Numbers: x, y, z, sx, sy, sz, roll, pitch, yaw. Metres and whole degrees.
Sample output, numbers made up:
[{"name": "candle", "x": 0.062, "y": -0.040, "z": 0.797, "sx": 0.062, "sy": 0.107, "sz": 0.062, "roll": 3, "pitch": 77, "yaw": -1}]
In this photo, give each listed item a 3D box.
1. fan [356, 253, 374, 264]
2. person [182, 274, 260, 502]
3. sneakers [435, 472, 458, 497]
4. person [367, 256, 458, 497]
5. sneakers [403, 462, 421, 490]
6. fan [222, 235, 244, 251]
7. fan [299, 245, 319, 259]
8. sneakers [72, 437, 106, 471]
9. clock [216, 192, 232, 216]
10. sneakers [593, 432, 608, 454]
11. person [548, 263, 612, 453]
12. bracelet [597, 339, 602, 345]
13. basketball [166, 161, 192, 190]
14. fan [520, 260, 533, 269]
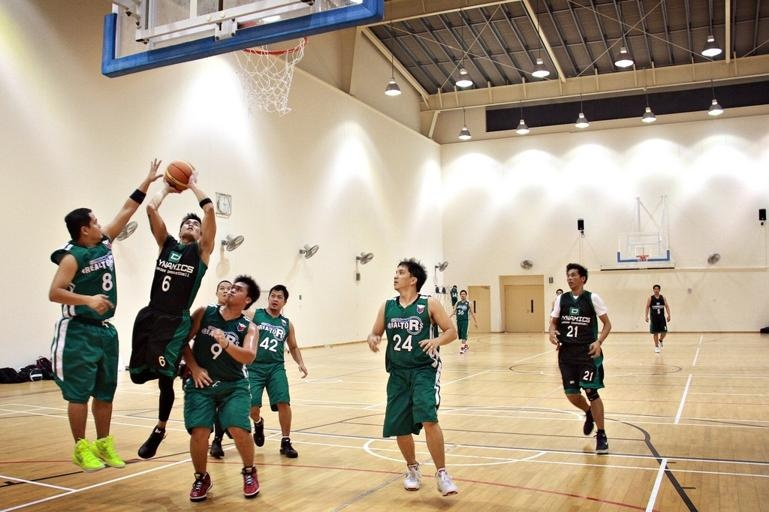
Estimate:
[{"name": "fan", "x": -0.720, "y": 0.052, "z": 19.304, "sx": 0.471, "sy": 0.446, "sz": 0.481, "roll": 3, "pitch": 24, "yaw": -4}, {"name": "person", "x": -1.448, "y": 1.199, "z": 4.671, "sx": 0.691, "sy": 1.890, "sz": 0.363, "roll": 2, "pitch": -7, "yaw": -14}, {"name": "sneakers", "x": 0.562, "y": 2.011, "z": 4.638, "sx": 0.182, "sy": 0.242, "sz": 0.196, "roll": 0, "pitch": -7, "yaw": 6}, {"name": "person", "x": 0.256, "y": 1.081, "z": 4.921, "sx": 0.813, "sy": 2.150, "sz": 0.586, "roll": 1, "pitch": -7, "yaw": -2}, {"name": "sneakers", "x": 0.262, "y": 2.055, "z": 4.900, "sx": 0.100, "sy": 0.126, "sz": 0.288, "roll": 1, "pitch": -2, "yaw": 6}, {"name": "fan", "x": -4.043, "y": -0.344, "z": 13.897, "sx": 0.370, "sy": 0.458, "sz": 0.489, "roll": 28, "pitch": 18, "yaw": 23}, {"name": "fan", "x": -2.345, "y": -0.146, "z": 16.643, "sx": 0.218, "sy": 0.503, "sz": 0.995, "roll": -2, "pitch": -8, "yaw": 23}, {"name": "sneakers", "x": -2.673, "y": 1.790, "z": 4.716, "sx": 0.241, "sy": 0.289, "sz": 0.262, "roll": 5, "pitch": -8, "yaw": -30}, {"name": "clock", "x": -4.258, "y": -1.362, "z": 13.772, "sx": 0.103, "sy": 0.629, "sz": 0.539, "roll": -2, "pitch": -8, "yaw": 25}, {"name": "sneakers", "x": 2.418, "y": 2.037, "z": 5.774, "sx": 0.124, "sy": 0.236, "sz": 0.238, "roll": -2, "pitch": -8, "yaw": 23}, {"name": "person", "x": 2.326, "y": 1.121, "z": 6.172, "sx": 0.651, "sy": 2.145, "sz": 0.696, "roll": -2, "pitch": -7, "yaw": 23}, {"name": "bracelet", "x": 2.408, "y": 0.961, "z": 5.828, "sx": 0.060, "sy": 0.058, "sz": 0.020, "roll": -6, "pitch": -9, "yaw": 24}, {"name": "basketball", "x": -1.846, "y": -0.714, "z": 4.672, "sx": 0.203, "sy": 0.197, "sz": 0.234, "roll": 15, "pitch": 30, "yaw": -37}, {"name": "fan", "x": 6.484, "y": 0.394, "z": 23.710, "sx": 0.520, "sy": 0.445, "sz": 0.157, "roll": 0, "pitch": -7, "yaw": 9}]
